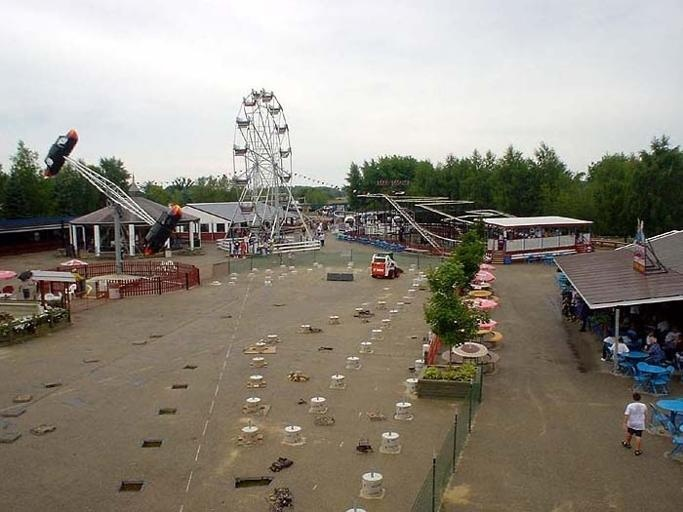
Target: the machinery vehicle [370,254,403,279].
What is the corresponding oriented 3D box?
[{"bbox_3d":[4.117,1.064,48.795,2.506,1.869,2.032,0,9,6],"label":"machinery vehicle"}]
